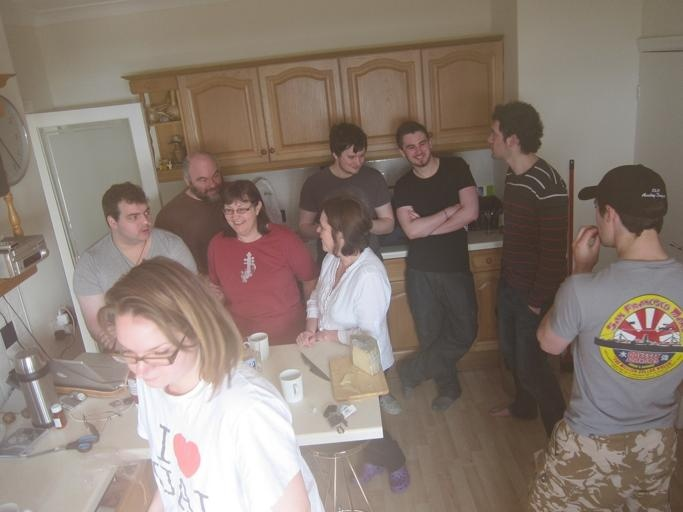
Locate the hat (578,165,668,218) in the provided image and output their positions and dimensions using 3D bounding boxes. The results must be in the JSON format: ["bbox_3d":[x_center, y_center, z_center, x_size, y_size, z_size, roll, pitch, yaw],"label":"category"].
[{"bbox_3d":[1.122,-0.315,2.154,0.303,0.174,0.225,7,1,16],"label":"hat"}]

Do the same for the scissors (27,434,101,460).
[{"bbox_3d":[-1.190,0.820,2.254,0.221,0.034,0.111,-6,28,-11],"label":"scissors"}]

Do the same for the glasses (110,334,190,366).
[{"bbox_3d":[-0.597,0.284,1.570,0.273,0.072,0.083,-1,17,19],"label":"glasses"}]

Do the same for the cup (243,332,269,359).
[{"bbox_3d":[-0.453,0.459,2.680,0.136,0.105,0.089,-4,29,23],"label":"cup"}]

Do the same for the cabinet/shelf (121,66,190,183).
[{"bbox_3d":[-1.384,-1.013,4.145,0.453,0.797,0.234,-3,19,5],"label":"cabinet/shelf"}]

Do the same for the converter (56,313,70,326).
[{"bbox_3d":[-1.778,0.402,3.352,0.065,0.066,0.064,-9,3,-31],"label":"converter"}]

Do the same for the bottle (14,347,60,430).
[{"bbox_3d":[-1.401,0.625,2.391,0.142,0.366,0.141,-10,12,2],"label":"bottle"}]

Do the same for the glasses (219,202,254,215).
[{"bbox_3d":[-0.596,-0.278,3.038,0.168,0.083,0.069,-10,17,-11],"label":"glasses"}]

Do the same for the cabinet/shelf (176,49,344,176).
[{"bbox_3d":[-0.578,-1.126,4.262,1.257,0.833,0.418,-4,22,4],"label":"cabinet/shelf"}]

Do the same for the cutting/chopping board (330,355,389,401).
[{"bbox_3d":[0.068,0.585,2.532,0.257,0.051,0.358,-5,20,-5],"label":"cutting/chopping board"}]

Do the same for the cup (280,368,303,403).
[{"bbox_3d":[-0.222,0.598,2.449,0.102,0.123,0.133,-2,28,-1],"label":"cup"}]

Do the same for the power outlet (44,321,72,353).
[{"bbox_3d":[-1.802,0.521,3.354,0.104,0.180,0.040,2,15,-15],"label":"power outlet"}]

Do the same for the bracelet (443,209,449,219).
[{"bbox_3d":[0.721,-0.289,3.587,0.043,0.046,0.012,-1,-7,-4],"label":"bracelet"}]

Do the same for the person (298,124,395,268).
[{"bbox_3d":[0.036,-0.291,3.817,0.700,1.274,0.637,-5,18,-4],"label":"person"}]

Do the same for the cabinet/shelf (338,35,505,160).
[{"bbox_3d":[0.626,-1.204,4.200,1.289,0.889,0.459,-7,10,-4],"label":"cabinet/shelf"}]
